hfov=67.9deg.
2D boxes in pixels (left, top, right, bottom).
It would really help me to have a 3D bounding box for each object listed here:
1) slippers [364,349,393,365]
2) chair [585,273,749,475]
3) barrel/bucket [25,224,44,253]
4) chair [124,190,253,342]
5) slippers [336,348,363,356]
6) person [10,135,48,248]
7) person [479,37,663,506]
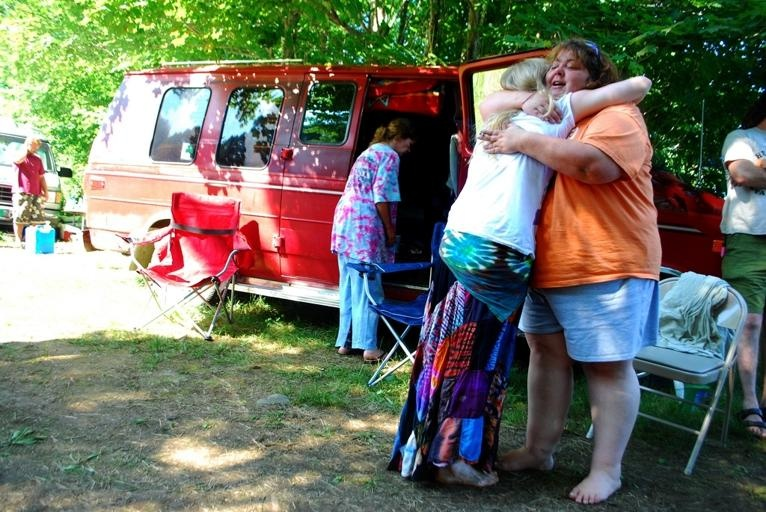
[{"bbox_3d":[-0.036,0.999,5.695,0.292,0.110,0.113,-7,8,-42],"label":"slippers"},{"bbox_3d":[2.205,0.838,4.262,0.935,1.170,0.765,-6,13,-28],"label":"chair"},{"bbox_3d":[-6.215,-0.307,10.337,0.428,0.467,0.630,-5,14,-33],"label":"barrel/bucket"},{"bbox_3d":[-2.069,0.104,6.187,1.288,1.347,1.120,1,18,-23],"label":"chair"},{"bbox_3d":[-0.340,0.994,5.841,0.296,0.117,0.095,7,-7,-24],"label":"slippers"},{"bbox_3d":[-6.764,-1.261,10.937,0.619,2.063,0.538,-8,16,-41],"label":"person"},{"bbox_3d":[1.161,0.112,3.418,0.943,2.752,0.489,8,13,24],"label":"person"}]
